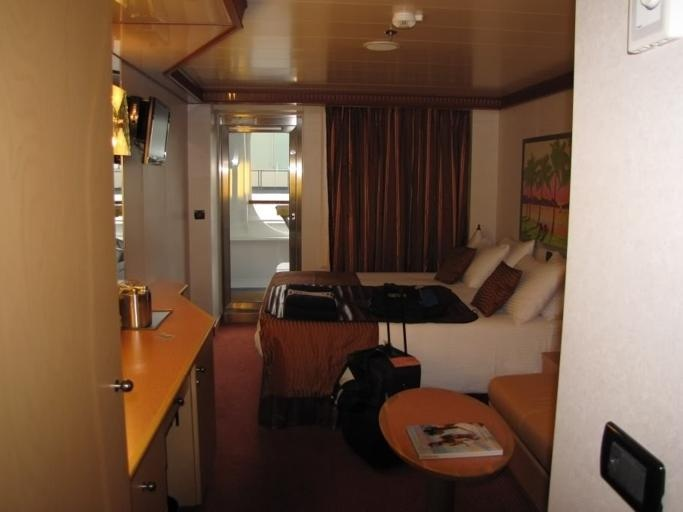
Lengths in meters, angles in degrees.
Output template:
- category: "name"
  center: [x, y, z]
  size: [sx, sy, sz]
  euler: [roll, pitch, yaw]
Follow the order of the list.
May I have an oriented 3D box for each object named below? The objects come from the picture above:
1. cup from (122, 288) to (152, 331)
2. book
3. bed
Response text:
- category: "cup"
  center: [-0.971, 0.246, 2.576]
  size: [0.162, 0.189, 0.168]
  euler: [0, 1, 0]
- category: "book"
  center: [0.482, 0.789, 2.330]
  size: [0.369, 0.038, 0.239]
  euler: [0, 9, -8]
- category: "bed"
  center: [0.208, 0.463, 4.099]
  size: [1.570, 0.419, 1.354]
  euler: [3, 15, -3]
